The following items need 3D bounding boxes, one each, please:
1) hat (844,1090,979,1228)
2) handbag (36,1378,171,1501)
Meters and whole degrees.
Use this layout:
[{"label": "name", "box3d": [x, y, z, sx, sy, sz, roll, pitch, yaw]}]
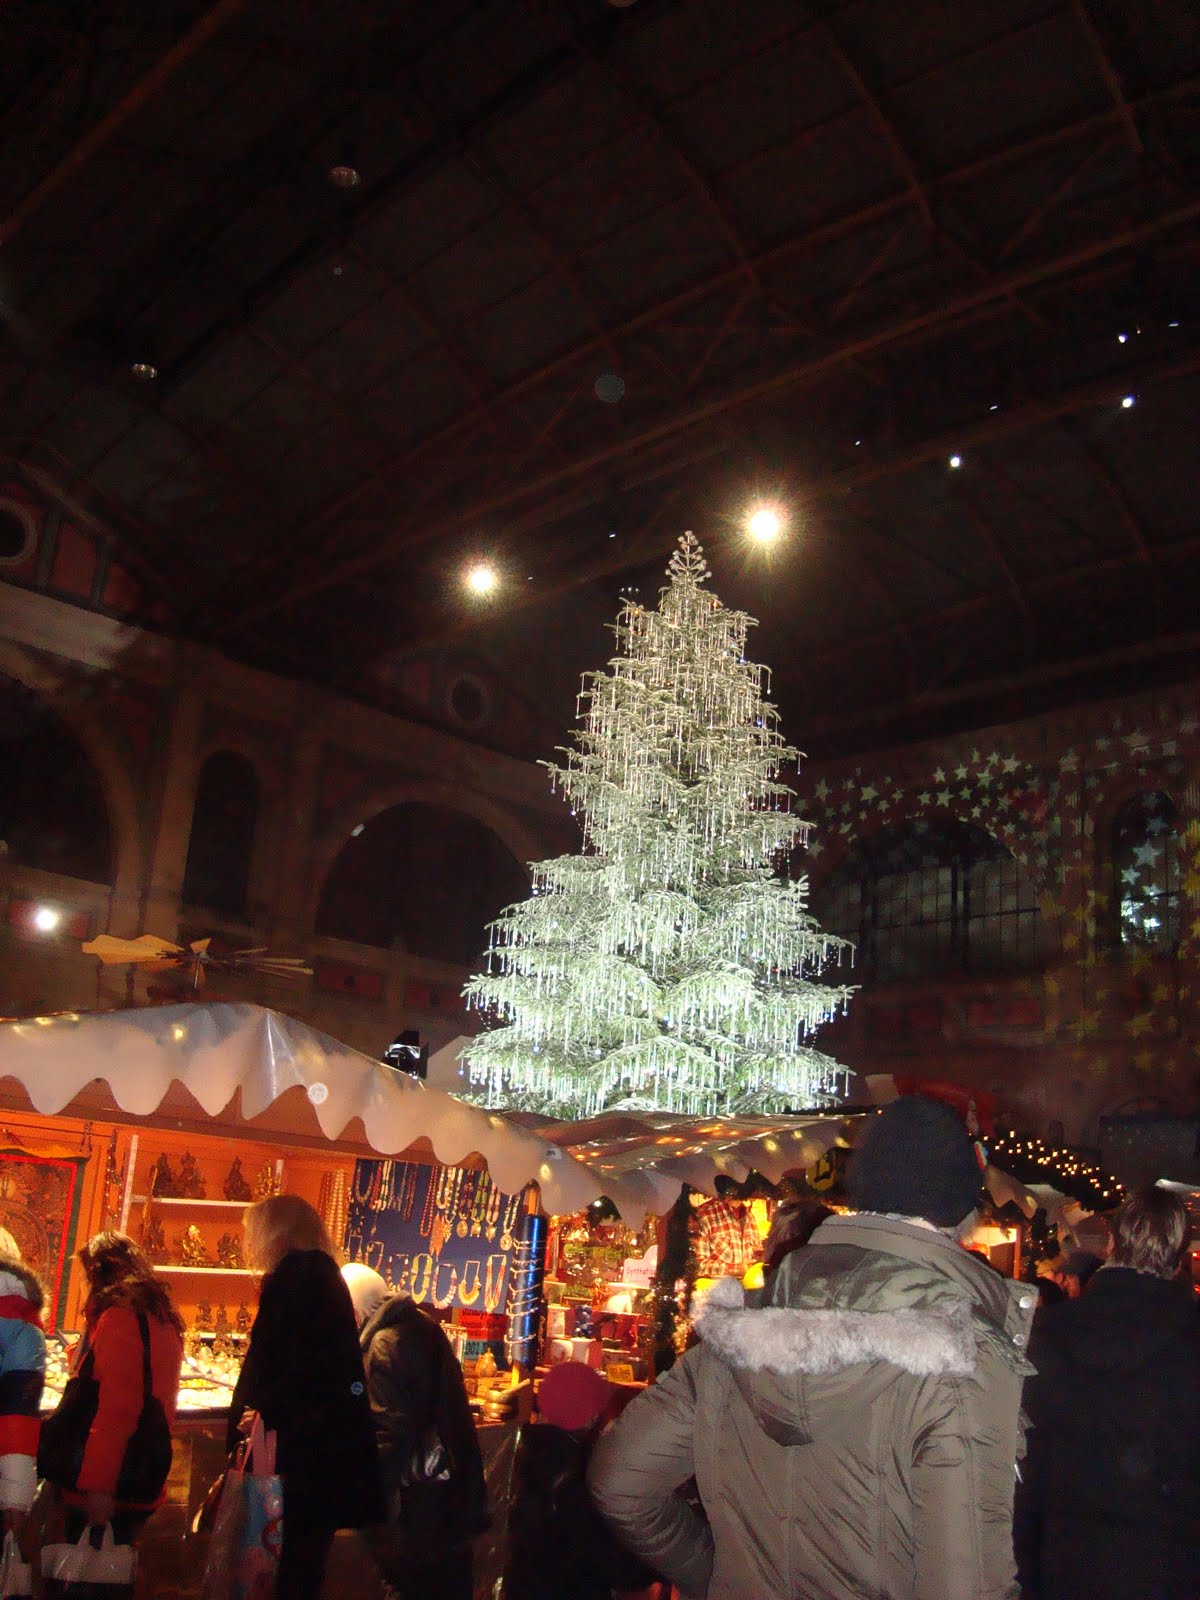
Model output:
[{"label": "hat", "box3d": [0.470, 0.531, 1.828, 0.180, 0.173, 0.192, -5, -30, 46]}, {"label": "handbag", "box3d": [-1.535, 1.976, 3.699, 0.277, 0.373, 0.325, -3, -15, 24]}]
